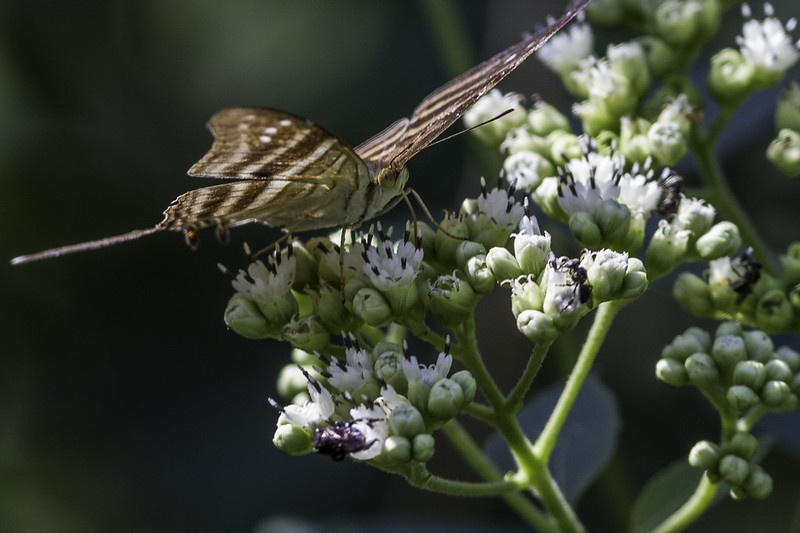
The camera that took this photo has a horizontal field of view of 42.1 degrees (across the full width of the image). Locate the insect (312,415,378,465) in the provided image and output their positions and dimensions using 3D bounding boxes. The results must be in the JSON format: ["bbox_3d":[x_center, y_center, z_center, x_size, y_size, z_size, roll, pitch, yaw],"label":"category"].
[{"bbox_3d":[-0.225,0.662,4.028,0.193,0.069,0.175,0,50,-17],"label":"insect"}]
